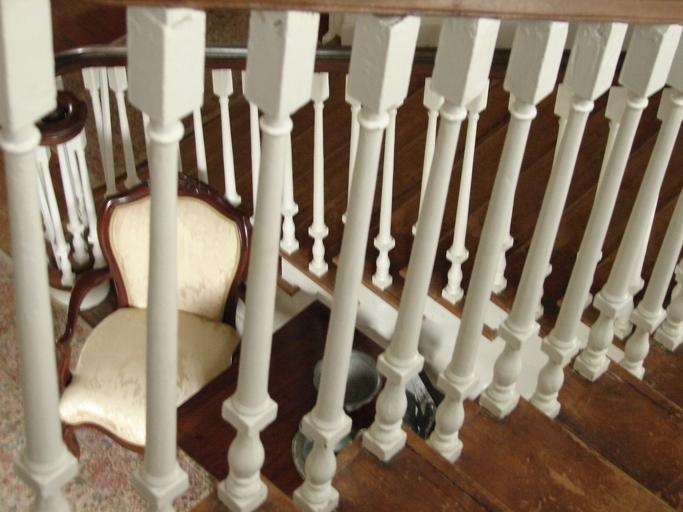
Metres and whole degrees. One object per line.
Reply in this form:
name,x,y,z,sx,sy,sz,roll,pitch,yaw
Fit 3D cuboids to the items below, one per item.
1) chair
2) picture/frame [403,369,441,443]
chair,-0.808,0.364,2.703,0.714,1.195,0.890,3,45,-13
picture/frame,0.370,0.662,2.842,0.074,0.193,0.343,15,55,-45
